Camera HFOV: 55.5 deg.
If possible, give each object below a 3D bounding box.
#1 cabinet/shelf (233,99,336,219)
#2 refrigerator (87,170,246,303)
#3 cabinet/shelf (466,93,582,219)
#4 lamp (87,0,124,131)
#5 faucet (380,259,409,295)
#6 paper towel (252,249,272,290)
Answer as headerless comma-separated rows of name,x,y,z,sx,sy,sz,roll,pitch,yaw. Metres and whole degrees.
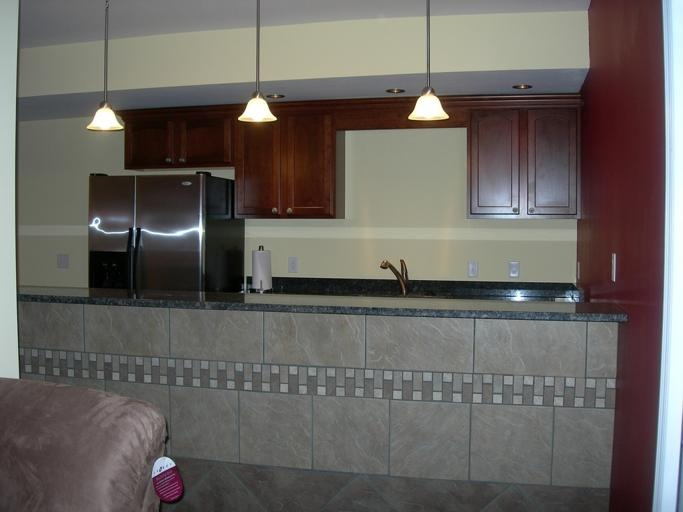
cabinet/shelf,-0.415,-0.798,5.212,0.840,0.978,0.447,1,0,13
refrigerator,-1.473,-0.174,5.389,1.225,1.045,0.588,1,10,0
cabinet/shelf,1.459,-0.782,5.163,0.873,0.923,0.392,1,22,18
lamp,-1.664,-1.311,4.515,0.214,0.888,1.188,-3,12,-21
faucet,0.444,0.168,5.281,0.168,0.063,0.463,3,-36,15
paper towel,-0.595,0.107,4.882,0.135,0.331,0.120,-2,10,-14
